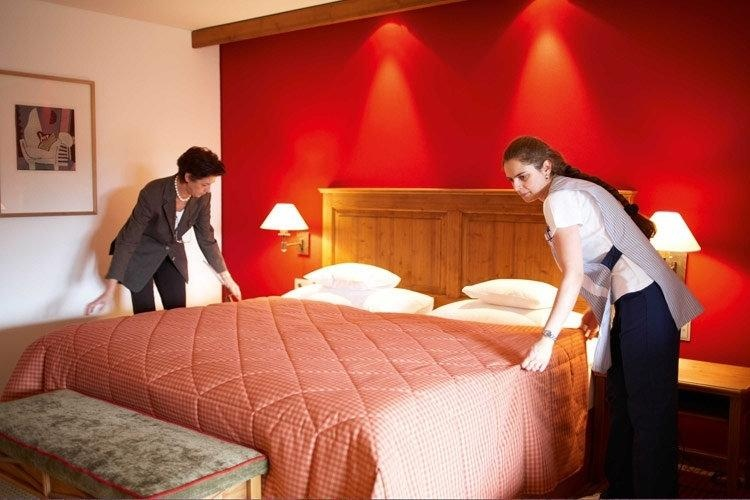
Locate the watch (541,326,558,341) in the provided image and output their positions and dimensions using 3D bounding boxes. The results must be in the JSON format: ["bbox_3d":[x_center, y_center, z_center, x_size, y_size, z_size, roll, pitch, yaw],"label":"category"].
[{"bbox_3d":[0.797,0.379,2.277,0.059,0.039,0.058,1,7,-17],"label":"watch"}]

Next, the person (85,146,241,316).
[{"bbox_3d":[-1.454,0.089,3.719,1.041,1.698,0.920,7,21,-17],"label":"person"}]

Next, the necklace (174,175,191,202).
[{"bbox_3d":[-1.362,-0.432,3.535,0.114,0.148,0.023,1,16,42],"label":"necklace"}]

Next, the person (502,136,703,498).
[{"bbox_3d":[1.102,0.389,2.427,0.852,1.859,0.407,0,9,3],"label":"person"}]

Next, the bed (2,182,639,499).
[{"bbox_3d":[-0.285,0.459,2.811,1.945,1.102,1.983,1,0,38],"label":"bed"}]

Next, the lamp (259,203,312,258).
[{"bbox_3d":[-0.841,-0.159,4.692,0.382,0.453,0.396,0,-9,-38],"label":"lamp"}]
